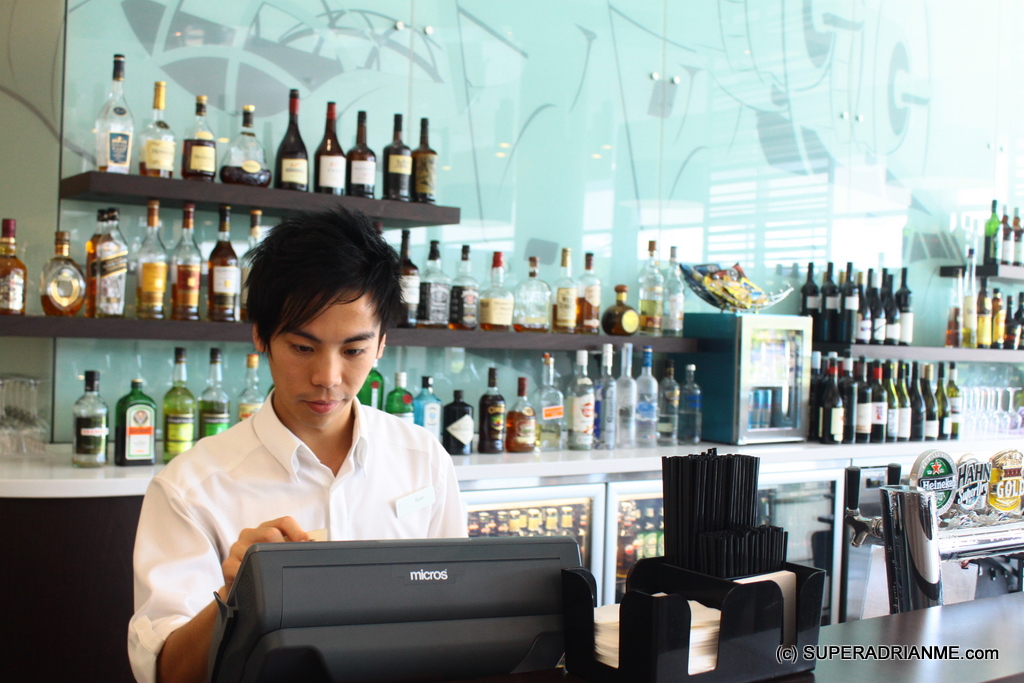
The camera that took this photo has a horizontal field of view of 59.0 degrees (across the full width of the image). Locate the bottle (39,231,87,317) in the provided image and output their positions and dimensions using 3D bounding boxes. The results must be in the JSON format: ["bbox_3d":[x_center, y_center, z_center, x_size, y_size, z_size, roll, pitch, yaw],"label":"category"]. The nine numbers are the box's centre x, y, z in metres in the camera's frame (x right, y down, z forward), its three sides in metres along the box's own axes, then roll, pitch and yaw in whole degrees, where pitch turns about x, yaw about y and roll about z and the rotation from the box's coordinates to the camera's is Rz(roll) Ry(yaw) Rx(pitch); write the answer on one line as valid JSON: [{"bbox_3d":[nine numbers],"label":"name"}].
[{"bbox_3d":[-1.670,-0.245,3.389,0.147,0.317,0.205,0,-3,-27],"label":"bottle"}]

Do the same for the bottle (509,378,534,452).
[{"bbox_3d":[0.040,0.323,3.927,0.117,0.317,0.203,-2,-3,17],"label":"bottle"}]

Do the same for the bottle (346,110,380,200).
[{"bbox_3d":[-0.597,-0.747,3.682,0.117,0.378,0.203,-2,-3,12],"label":"bottle"}]

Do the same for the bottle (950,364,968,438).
[{"bbox_3d":[2.495,0.340,5.105,0.075,0.413,0.298,-3,-3,26],"label":"bottle"}]

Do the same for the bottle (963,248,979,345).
[{"bbox_3d":[2.769,-0.263,5.506,0.097,0.603,0.373,-3,-3,29],"label":"bottle"}]

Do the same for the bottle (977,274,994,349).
[{"bbox_3d":[2.874,-0.144,5.512,0.066,0.360,0.186,-4,-3,42],"label":"bottle"}]

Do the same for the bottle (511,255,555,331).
[{"bbox_3d":[0.092,-0.209,4.139,0.173,0.330,0.332,-2,-3,8],"label":"bottle"}]

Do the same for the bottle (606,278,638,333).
[{"bbox_3d":[0.530,-0.136,4.269,0.185,0.232,0.207,-1,-3,-4],"label":"bottle"}]

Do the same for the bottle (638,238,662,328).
[{"bbox_3d":[0.680,-0.252,4.449,0.123,0.441,0.264,-2,-3,9],"label":"bottle"}]

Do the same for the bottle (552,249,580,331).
[{"bbox_3d":[0.251,-0.227,4.181,0.114,0.380,0.290,-2,-3,4],"label":"bottle"}]

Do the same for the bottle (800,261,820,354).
[{"bbox_3d":[1.649,-0.219,5.000,0.094,0.445,0.260,-2,-3,18],"label":"bottle"}]

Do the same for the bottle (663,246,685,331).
[{"bbox_3d":[0.796,-0.239,4.496,0.100,0.441,0.282,-2,-3,11],"label":"bottle"}]

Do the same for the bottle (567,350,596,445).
[{"bbox_3d":[0.307,0.260,4.056,0.132,0.440,0.159,-2,-2,4],"label":"bottle"}]

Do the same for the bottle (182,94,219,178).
[{"bbox_3d":[-1.207,-0.782,3.513,0.131,0.384,0.252,-1,-3,-19],"label":"bottle"}]

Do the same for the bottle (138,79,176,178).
[{"bbox_3d":[-1.350,-0.801,3.451,0.131,0.426,0.286,-1,-3,-20],"label":"bottle"}]

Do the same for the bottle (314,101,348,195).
[{"bbox_3d":[-0.730,-0.760,3.651,0.122,0.377,0.193,0,-3,-24],"label":"bottle"}]

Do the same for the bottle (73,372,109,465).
[{"bbox_3d":[-1.534,0.283,3.308,0.110,0.341,0.192,0,-3,-25],"label":"bottle"}]

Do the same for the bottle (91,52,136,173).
[{"bbox_3d":[-1.513,-0.855,3.455,0.144,0.473,0.234,0,-3,-24],"label":"bottle"}]

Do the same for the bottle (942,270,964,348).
[{"bbox_3d":[2.639,-0.197,5.417,0.122,0.473,0.411,-3,-3,26],"label":"bottle"}]

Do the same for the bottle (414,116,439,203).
[{"bbox_3d":[-0.370,-0.752,3.806,0.098,0.382,0.158,-1,-2,-6],"label":"bottle"}]

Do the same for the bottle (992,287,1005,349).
[{"bbox_3d":[3.001,-0.127,5.592,0.062,0.341,0.250,-3,-3,33],"label":"bottle"}]

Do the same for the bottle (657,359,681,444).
[{"bbox_3d":[0.737,0.334,4.284,0.096,0.311,0.061,-1,-2,1],"label":"bottle"}]

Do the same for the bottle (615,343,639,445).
[{"bbox_3d":[0.538,0.249,4.214,0.094,0.476,0.261,-2,-2,8],"label":"bottle"}]

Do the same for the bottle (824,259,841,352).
[{"bbox_3d":[1.725,-0.203,4.888,0.095,0.445,0.288,-2,-3,22],"label":"bottle"}]

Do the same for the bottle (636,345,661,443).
[{"bbox_3d":[0.623,0.264,4.193,0.098,0.449,0.237,-2,-3,13],"label":"bottle"}]

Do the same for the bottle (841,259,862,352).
[{"bbox_3d":[1.811,-0.191,4.853,0.094,0.452,0.303,-2,-3,20],"label":"bottle"}]

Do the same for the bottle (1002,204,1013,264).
[{"bbox_3d":[3.066,-0.625,5.604,0.055,0.307,0.178,-3,-3,38],"label":"bottle"}]

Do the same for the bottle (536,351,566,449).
[{"bbox_3d":[0.174,0.271,4.065,0.136,0.427,0.235,-2,-2,2],"label":"bottle"}]

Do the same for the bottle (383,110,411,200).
[{"bbox_3d":[-0.470,-0.747,3.744,0.132,0.381,0.162,0,-3,-31],"label":"bottle"}]

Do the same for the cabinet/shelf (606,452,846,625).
[{"bbox_3d":[1.027,0.936,4.193,1.231,0.880,0.311,0,-3,-32],"label":"cabinet/shelf"}]

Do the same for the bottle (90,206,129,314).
[{"bbox_3d":[-1.520,-0.291,3.406,0.133,0.412,0.181,0,-3,-25],"label":"bottle"}]

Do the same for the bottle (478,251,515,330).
[{"bbox_3d":[-0.068,-0.223,4.076,0.144,0.360,0.262,-1,-3,1],"label":"bottle"}]

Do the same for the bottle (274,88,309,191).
[{"bbox_3d":[-0.881,-0.792,3.636,0.136,0.449,0.302,-1,-3,-13],"label":"bottle"}]

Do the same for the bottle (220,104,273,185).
[{"bbox_3d":[-1.051,-0.768,3.571,0.184,0.375,0.285,-1,-3,-18],"label":"bottle"}]

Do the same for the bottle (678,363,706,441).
[{"bbox_3d":[0.846,0.304,4.323,0.113,0.372,0.102,-1,-2,-13],"label":"bottle"}]
